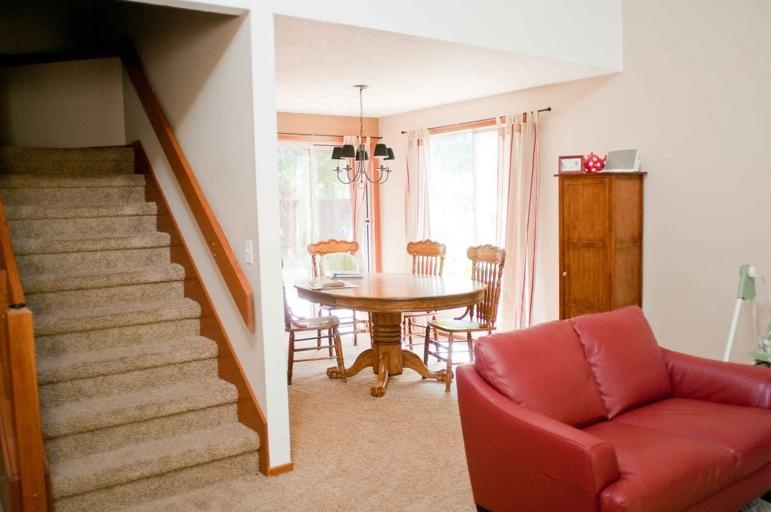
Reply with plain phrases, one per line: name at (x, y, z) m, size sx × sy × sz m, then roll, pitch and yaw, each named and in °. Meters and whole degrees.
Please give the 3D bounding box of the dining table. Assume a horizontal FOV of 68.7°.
dining table at (0.020, 0.819, 5.677) m, size 1.797 × 0.967 × 1.407 m, roll -1°, pitch 2°, yaw -27°

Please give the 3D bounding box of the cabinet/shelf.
cabinet/shelf at (2.057, -0.088, 5.337) m, size 0.839 × 1.403 × 0.598 m, roll 2°, pitch 14°, yaw 10°

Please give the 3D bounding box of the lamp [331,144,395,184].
lamp at (-0.267, -1.079, 6.566) m, size 0.699 × 0.436 × 0.705 m, roll -1°, pitch 7°, yaw -1°

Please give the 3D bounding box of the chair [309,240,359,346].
chair at (-0.487, 0.428, 6.516) m, size 0.776 × 1.184 × 0.761 m, roll -1°, pitch 11°, yaw -3°

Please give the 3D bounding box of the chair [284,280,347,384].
chair at (-0.789, 0.690, 5.975) m, size 0.664 × 1.006 × 0.596 m, roll -3°, pitch 7°, yaw -16°

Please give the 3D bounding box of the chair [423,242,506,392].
chair at (0.794, 0.618, 5.761) m, size 0.737 × 1.306 × 0.709 m, roll -2°, pitch 4°, yaw -15°
